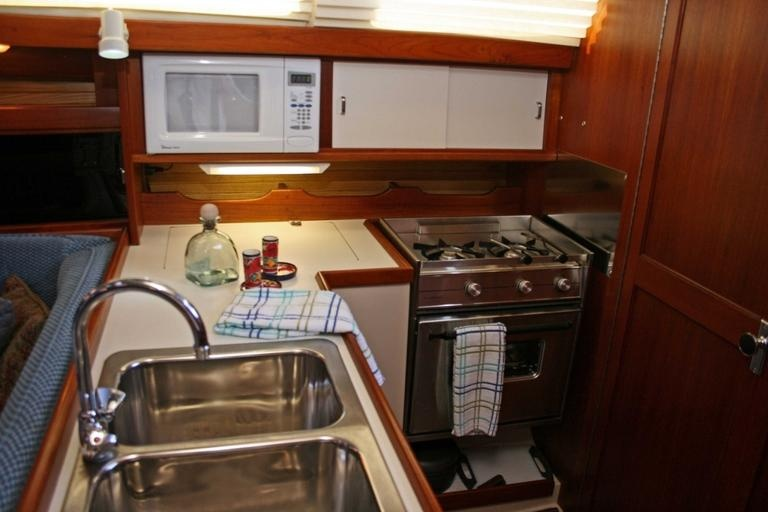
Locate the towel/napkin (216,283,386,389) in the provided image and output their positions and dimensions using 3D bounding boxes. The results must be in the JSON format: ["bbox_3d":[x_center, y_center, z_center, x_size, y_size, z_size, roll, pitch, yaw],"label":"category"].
[{"bbox_3d":[-0.321,0.240,1.823,0.425,0.122,0.421,-3,19,-12],"label":"towel/napkin"}]

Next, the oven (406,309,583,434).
[{"bbox_3d":[0.485,0.538,2.722,0.868,0.548,0.448,-1,9,-19],"label":"oven"}]

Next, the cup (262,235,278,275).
[{"bbox_3d":[-0.446,-0.001,2.085,0.059,0.140,0.078,-3,20,-2],"label":"cup"}]

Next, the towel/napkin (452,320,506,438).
[{"bbox_3d":[0.436,0.582,2.435,0.225,0.558,0.130,-1,20,6],"label":"towel/napkin"}]

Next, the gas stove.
[{"bbox_3d":[0.479,0.016,2.611,0.862,0.338,0.569,-6,19,-12],"label":"gas stove"}]

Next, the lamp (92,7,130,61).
[{"bbox_3d":[-0.989,-0.817,1.939,0.097,0.176,0.333,-10,20,-20],"label":"lamp"}]
